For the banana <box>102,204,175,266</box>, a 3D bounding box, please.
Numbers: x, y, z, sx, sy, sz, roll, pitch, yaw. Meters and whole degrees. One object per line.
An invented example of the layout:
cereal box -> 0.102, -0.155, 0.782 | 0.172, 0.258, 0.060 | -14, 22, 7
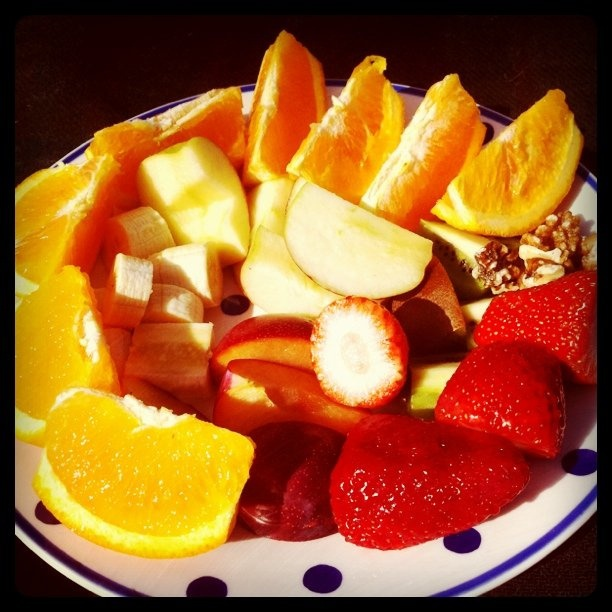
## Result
banana -> -0.270, -0.117, 1.081 | 0.103, 0.078, 0.131 | -11, 30, -16

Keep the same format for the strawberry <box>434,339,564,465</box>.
strawberry -> 0.243, 0.120, 0.805 | 0.141, 0.147, 0.082 | 20, -13, 29

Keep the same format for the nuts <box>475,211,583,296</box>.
nuts -> 0.336, -0.078, 0.966 | 0.104, 0.155, 0.036 | 39, 9, 20

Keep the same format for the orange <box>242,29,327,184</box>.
orange -> -0.021, -0.330, 1.121 | 0.160, 0.176, 0.228 | -5, -45, -1

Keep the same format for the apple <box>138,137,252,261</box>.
apple -> -0.182, -0.203, 1.135 | 0.245, 0.173, 0.169 | -25, 39, -26

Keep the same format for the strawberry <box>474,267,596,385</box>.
strawberry -> 0.314, 0.018, 0.949 | 0.153, 0.151, 0.160 | 4, 25, 9

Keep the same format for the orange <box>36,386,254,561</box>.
orange -> -0.208, 0.209, 0.798 | 0.271, 0.181, 0.085 | 15, -8, 5

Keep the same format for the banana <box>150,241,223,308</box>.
banana -> -0.188, -0.046, 1.022 | 0.084, 0.101, 0.096 | -1, -4, 9

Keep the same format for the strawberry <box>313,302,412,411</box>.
strawberry -> 0.085, 0.058, 0.925 | 0.089, 0.154, 0.138 | -3, -29, -47

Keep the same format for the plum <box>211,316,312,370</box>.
plum -> -0.061, 0.041, 0.960 | 0.150, 0.069, 0.130 | -2, 33, 9

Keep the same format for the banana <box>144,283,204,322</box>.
banana -> -0.207, -0.003, 0.999 | 0.090, 0.057, 0.071 | 4, -9, -7

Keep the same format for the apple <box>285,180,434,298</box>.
apple -> 0.067, -0.084, 0.882 | 0.215, 0.148, 0.158 | -6, 29, 0
